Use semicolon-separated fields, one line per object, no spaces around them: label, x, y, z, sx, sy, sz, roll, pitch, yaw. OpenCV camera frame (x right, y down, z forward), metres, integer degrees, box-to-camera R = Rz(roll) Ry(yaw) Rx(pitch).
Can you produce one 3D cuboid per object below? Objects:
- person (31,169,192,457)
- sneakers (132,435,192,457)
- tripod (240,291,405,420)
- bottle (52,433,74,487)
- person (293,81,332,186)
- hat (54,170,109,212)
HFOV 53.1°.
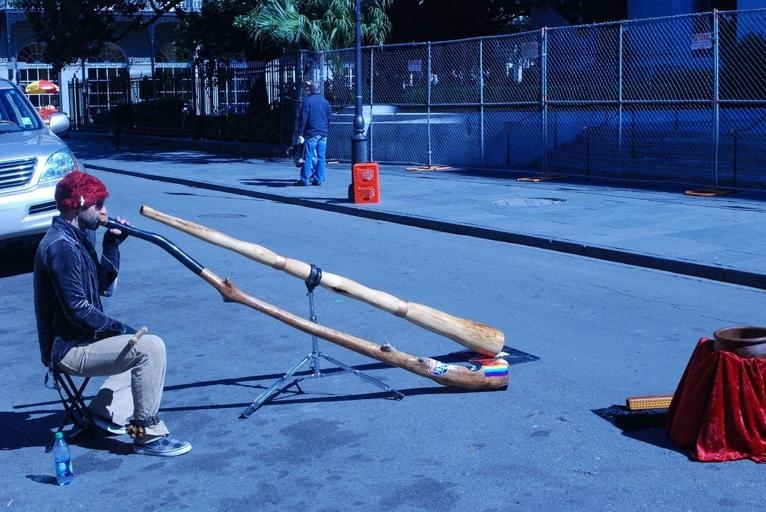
person;-1.830;0.491;4.985;0.851;2.179;0.638;10;17;40
sneakers;-1.445;1.535;5.022;0.302;0.107;0.167;1;6;-2
tripod;-0.531;0.785;6.062;1.219;1.073;0.952;-6;15;-10
bottle;-2.003;1.489;4.765;0.107;0.398;0.282;-7;15;-24
person;-1.639;-3.300;17.773;0.671;2.784;0.982;1;13;7
hat;-2.006;-0.456;5.077;0.385;0.365;0.325;3;10;-16
